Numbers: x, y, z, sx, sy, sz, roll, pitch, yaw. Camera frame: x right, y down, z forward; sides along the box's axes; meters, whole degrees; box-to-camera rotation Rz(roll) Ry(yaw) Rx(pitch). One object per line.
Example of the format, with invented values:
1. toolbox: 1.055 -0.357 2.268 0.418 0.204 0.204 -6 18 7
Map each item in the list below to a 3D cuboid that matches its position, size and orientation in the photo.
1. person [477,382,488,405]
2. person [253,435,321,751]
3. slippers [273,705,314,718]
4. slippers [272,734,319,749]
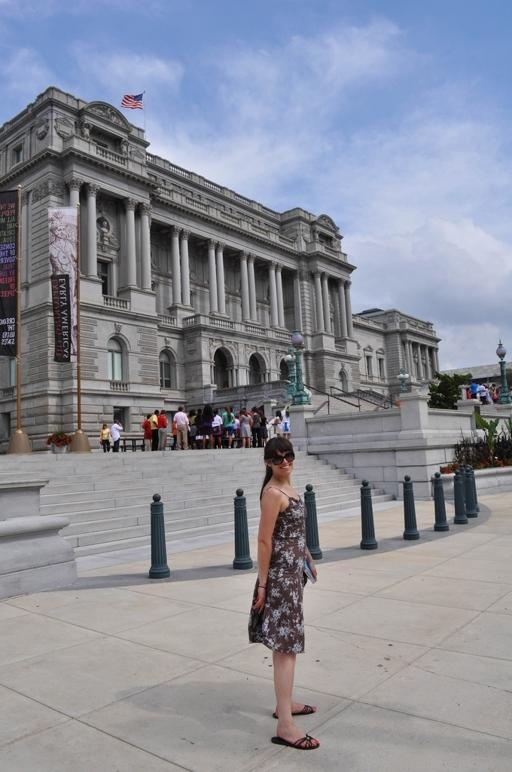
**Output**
1. person: 11.778 0.399 32.025 0.496 1.011 1.634 -4 -7 22
2. person: 0.134 1.062 3.422 0.379 1.568 0.550 -2 -6 4
3. slippers: 0.212 1.813 3.448 0.205 0.049 0.081 -8 -7 -3
4. slippers: 0.202 1.794 3.117 0.173 0.041 0.086 -12 -26 24
